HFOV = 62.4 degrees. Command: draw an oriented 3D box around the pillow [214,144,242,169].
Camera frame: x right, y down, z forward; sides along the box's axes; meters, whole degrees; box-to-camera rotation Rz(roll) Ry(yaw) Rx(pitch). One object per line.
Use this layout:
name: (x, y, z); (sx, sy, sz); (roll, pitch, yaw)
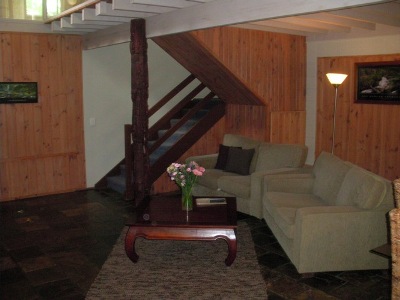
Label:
pillow: (0.500, 0.154, 5.946); (0.455, 0.421, 0.137); (10, -5, 45)

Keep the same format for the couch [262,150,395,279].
couch: (1.462, 0.658, 4.151); (1.044, 0.924, 1.457); (-2, 12, -2)

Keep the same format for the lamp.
lamp: (2.688, -0.675, 6.549); (0.393, 1.711, 1.177); (3, 12, 21)

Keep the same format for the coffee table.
coffee table: (-0.151, 0.808, 3.775); (0.821, 0.374, 0.959); (0, 13, 3)

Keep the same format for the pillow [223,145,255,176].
pillow: (0.661, 0.191, 5.555); (0.458, 0.455, 0.184); (11, -6, 34)

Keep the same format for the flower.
flower: (-0.164, 0.409, 4.219); (0.495, 0.589, 0.568); (-1, 10, -1)
